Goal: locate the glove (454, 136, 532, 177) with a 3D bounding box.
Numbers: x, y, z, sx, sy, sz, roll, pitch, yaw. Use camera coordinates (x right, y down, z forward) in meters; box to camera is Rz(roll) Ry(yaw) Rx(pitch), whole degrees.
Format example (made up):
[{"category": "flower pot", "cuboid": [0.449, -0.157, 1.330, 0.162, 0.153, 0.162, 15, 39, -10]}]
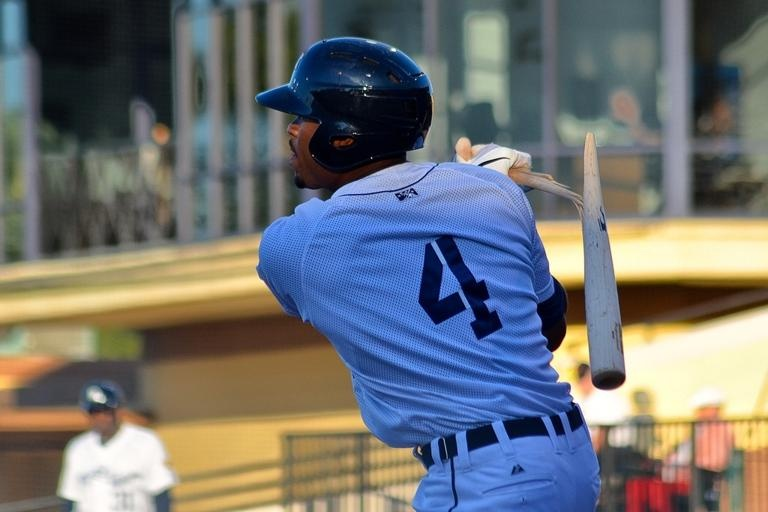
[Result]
[{"category": "glove", "cuboid": [1.051, -0.983, 20.768, 0.489, 0.192, 0.491, 12, 1, 21]}]
